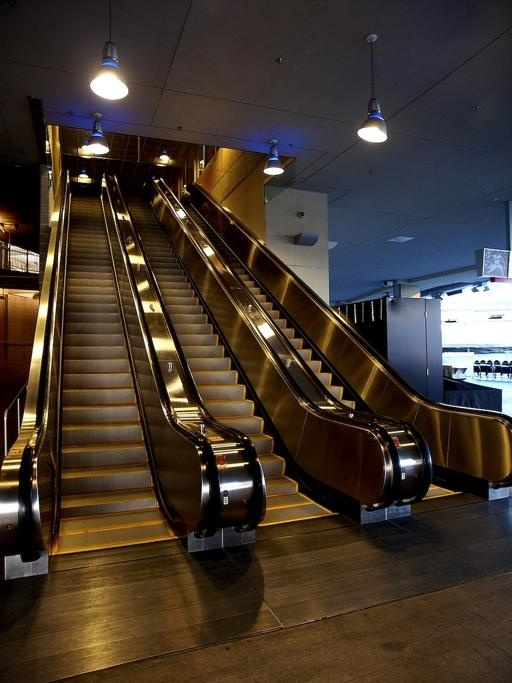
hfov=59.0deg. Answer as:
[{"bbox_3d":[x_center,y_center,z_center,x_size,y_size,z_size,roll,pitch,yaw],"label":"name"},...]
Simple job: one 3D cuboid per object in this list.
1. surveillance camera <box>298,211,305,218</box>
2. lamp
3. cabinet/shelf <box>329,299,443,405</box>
[{"bbox_3d":[0.843,-2.394,8.557,0.103,0.109,0.116,-8,29,-14],"label":"surveillance camera"},{"bbox_3d":[-0.098,-2.797,5.028,1.733,0.766,1.675,6,-25,-12],"label":"lamp"},{"bbox_3d":[2.333,0.128,7.531,1.394,1.759,0.985,-1,-4,20],"label":"cabinet/shelf"}]
